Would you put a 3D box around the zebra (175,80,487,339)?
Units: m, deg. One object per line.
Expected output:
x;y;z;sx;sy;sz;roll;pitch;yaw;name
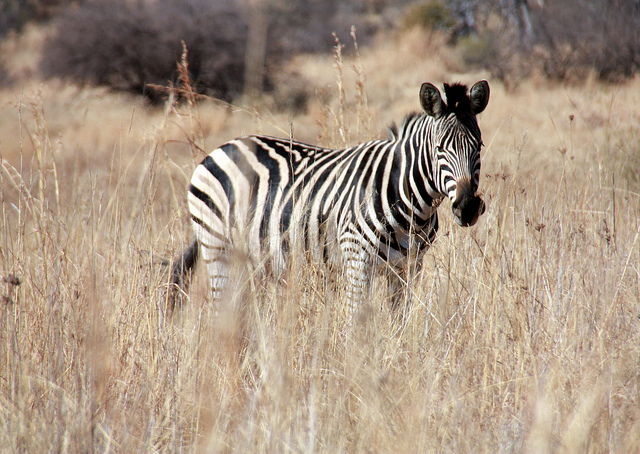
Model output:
-0.163;0.030;11.560;4.217;1.453;3.534;4;86;30;zebra
